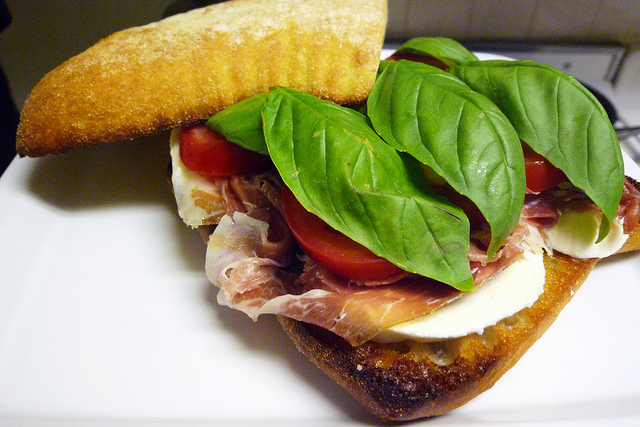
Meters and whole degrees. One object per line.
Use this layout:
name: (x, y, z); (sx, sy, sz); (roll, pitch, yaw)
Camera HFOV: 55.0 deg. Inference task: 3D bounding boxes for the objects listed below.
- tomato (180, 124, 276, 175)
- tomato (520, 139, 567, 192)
tomato: (-0.398, -0.225, 2.423); (0.242, 0.242, 0.092); (11, 97, 22)
tomato: (0.801, -0.162, 2.328); (0.188, 0.132, 0.195); (3, 38, -9)
